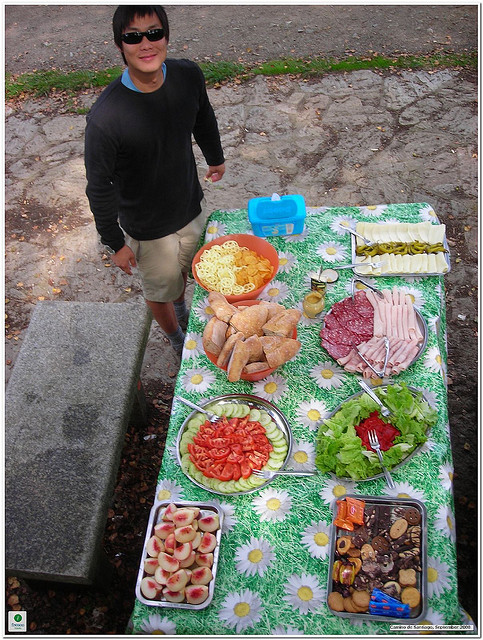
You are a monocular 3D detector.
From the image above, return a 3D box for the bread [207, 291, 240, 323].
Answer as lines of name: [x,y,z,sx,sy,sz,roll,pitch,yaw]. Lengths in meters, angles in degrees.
bread: [-0.110,-0.084,3.284,0.146,0.052,0.217,-21,58,-20]

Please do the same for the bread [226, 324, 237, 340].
bread: [-0.056,0.065,3.118,0.060,0.023,0.071,8,81,19]

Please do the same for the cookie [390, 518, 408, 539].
cookie: [0.766,1.021,2.609,0.108,0.033,0.061,-37,47,-26]

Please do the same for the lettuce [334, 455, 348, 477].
lettuce: [0.521,0.775,2.810,0.079,0.074,0.029,0,6,-3]

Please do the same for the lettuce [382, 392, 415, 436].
lettuce: [0.872,0.500,2.897,0.205,0.085,0.194,-14,81,-21]

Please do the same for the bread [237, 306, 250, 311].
bread: [0.010,-0.079,3.390,0.055,0.015,0.026,-6,67,-6]

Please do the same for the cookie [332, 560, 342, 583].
cookie: [0.457,1.202,2.557,0.060,0.028,0.074,3,73,34]

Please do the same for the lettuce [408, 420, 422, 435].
lettuce: [0.931,0.570,2.824,0.074,0.021,0.067,-7,69,3]

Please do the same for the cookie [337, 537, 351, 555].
cookie: [0.489,1.100,2.595,0.071,0.016,0.065,-16,50,30]

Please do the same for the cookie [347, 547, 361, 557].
cookie: [0.547,1.128,2.588,0.054,0.012,0.046,28,55,37]

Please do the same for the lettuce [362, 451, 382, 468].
lettuce: [0.682,0.733,2.808,0.076,0.084,0.069,-14,42,0]

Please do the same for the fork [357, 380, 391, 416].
fork: [0.723,0.420,2.993,0.057,0.045,0.314,-27,50,-5]

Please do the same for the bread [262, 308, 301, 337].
bread: [0.239,0.008,3.167,0.136,0.066,0.216,22,51,24]

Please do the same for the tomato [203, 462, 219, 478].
tomato: [-0.159,0.810,2.889,0.066,0.019,0.069,-37,27,-12]

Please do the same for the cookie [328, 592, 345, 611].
cookie: [0.443,1.313,2.487,0.055,0.052,0.065,-4,68,6]

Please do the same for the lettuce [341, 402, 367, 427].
lettuce: [0.616,0.510,2.947,0.130,0.054,0.121,9,67,30]

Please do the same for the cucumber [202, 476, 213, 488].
cucumber: [-0.174,0.872,2.872,0.046,0.014,0.042,10,38,-36]

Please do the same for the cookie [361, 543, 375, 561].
cookie: [0.606,1.115,2.561,0.061,0.024,0.067,-3,42,11]

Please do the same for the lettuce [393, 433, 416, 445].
lettuce: [0.869,0.636,2.850,0.113,0.037,0.065,-1,43,13]

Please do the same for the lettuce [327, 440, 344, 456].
lettuce: [0.495,0.679,2.842,0.086,0.075,0.031,-47,46,7]

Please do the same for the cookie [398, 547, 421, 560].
cookie: [0.796,1.117,2.539,0.087,0.021,0.045,-21,44,-4]

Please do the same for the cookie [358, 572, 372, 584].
cookie: [0.580,1.210,2.507,0.040,0.014,0.041,-25,25,-6]

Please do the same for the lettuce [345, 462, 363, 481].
lettuce: [0.595,0.791,2.770,0.088,0.031,0.080,-10,76,7]

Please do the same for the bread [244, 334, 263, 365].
bread: [0.064,0.174,3.098,0.168,0.146,0.053,-16,28,-34]

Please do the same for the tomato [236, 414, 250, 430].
tomato: [0.007,0.577,3.049,0.065,0.019,0.062,9,55,19]

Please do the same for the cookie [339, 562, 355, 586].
cookie: [0.494,1.199,2.517,0.063,0.027,0.092,-2,45,14]

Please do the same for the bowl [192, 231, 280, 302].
bowl: [-0.023,-0.337,3.865,0.723,0.673,0.254,-2,72,10]

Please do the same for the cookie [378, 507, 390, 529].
cookie: [0.711,0.980,2.647,0.075,0.026,0.123,4,58,13]

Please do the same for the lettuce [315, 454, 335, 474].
lettuce: [0.447,0.760,2.846,0.110,0.098,0.049,6,6,13]

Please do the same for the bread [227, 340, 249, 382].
bread: [-0.025,0.233,3.021,0.121,0.055,0.217,17,96,25]

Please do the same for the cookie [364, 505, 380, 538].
cookie: [0.650,0.999,2.644,0.123,0.031,0.111,11,62,4]

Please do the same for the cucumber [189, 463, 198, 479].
cucumber: [-0.256,0.825,2.907,0.064,0.014,0.059,6,44,-8]

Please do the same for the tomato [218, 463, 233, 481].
tomato: [-0.067,0.827,2.882,0.061,0.055,0.095,18,50,30]

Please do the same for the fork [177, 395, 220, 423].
fork: [-0.244,0.531,3.149,0.227,0.028,0.044,32,60,24]

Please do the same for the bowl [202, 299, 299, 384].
bowl: [0.118,0.166,3.282,0.534,0.268,0.509,-2,64,5]

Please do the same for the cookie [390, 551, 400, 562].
cookie: [0.734,1.126,2.545,0.040,0.011,0.035,-16,63,-17]

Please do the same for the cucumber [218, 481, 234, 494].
cucumber: [-0.086,0.896,2.850,0.062,0.011,0.082,-23,42,-12]

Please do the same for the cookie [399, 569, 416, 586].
cookie: [0.775,1.199,2.489,0.074,0.018,0.065,-4,42,9]

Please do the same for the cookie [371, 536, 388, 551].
cookie: [0.666,1.082,2.580,0.076,0.016,0.066,-29,44,-19]

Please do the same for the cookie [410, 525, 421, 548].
cookie: [0.842,1.043,2.577,0.051,0.021,0.084,5,65,12]

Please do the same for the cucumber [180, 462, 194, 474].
cucumber: [-0.290,0.793,2.907,0.056,0.012,0.054,4,37,-9]

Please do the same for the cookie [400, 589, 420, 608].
cookie: [0.774,1.276,2.449,0.082,0.036,0.067,1,43,15]

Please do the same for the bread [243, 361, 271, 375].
bread: [0.094,0.272,3.085,0.144,0.042,0.069,-15,43,-11]

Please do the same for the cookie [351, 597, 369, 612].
cookie: [0.539,1.320,2.454,0.081,0.040,0.034,15,50,28]

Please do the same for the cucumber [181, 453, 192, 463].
cucumber: [-0.308,0.765,2.955,0.042,0.009,0.038,0,47,5]

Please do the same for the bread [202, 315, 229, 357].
bread: [-0.156,0.082,3.136,0.063,0.193,0.151,-5,32,-28]

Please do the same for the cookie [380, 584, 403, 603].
cookie: [0.694,1.259,2.451,0.066,0.021,0.067,-30,53,-33]

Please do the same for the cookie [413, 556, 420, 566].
cookie: [0.830,1.139,2.525,0.032,0.007,0.028,-15,64,4]

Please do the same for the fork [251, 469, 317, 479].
fork: [0.225,0.827,2.870,0.380,0.046,0.041,0,16,5]
